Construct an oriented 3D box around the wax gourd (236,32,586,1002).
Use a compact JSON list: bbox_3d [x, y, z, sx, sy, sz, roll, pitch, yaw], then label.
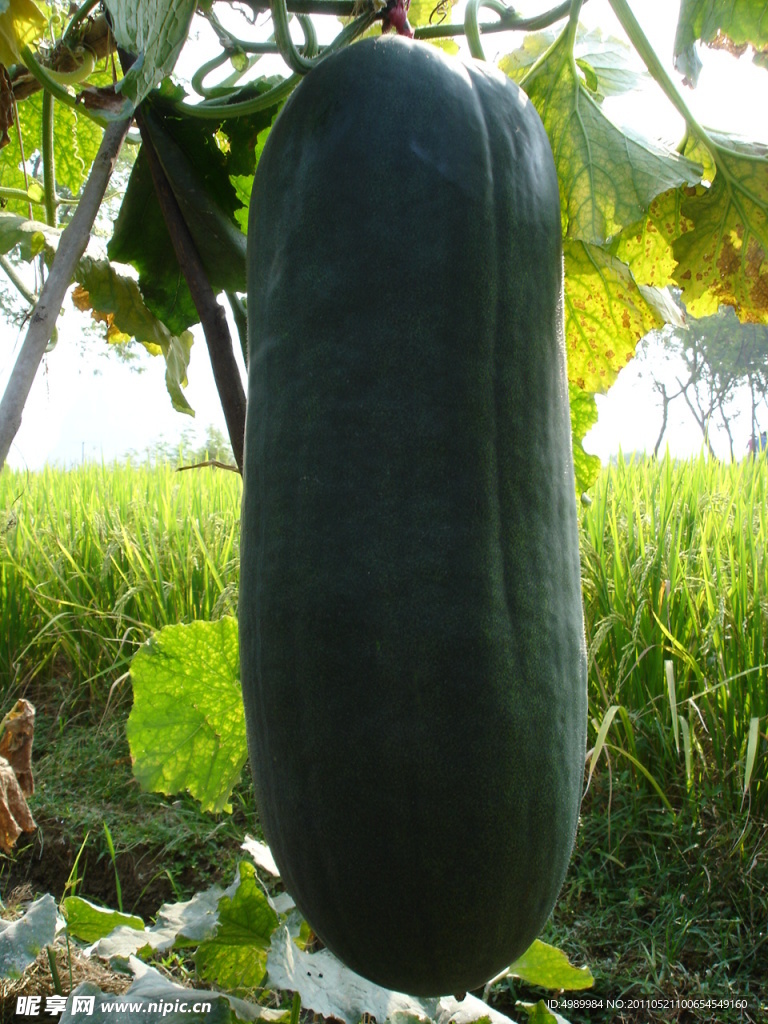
[{"bbox_3d":[0.023,-0.008,0.815,0.273,0.804,0.196,1,-15,-6],"label":"wax gourd"}]
